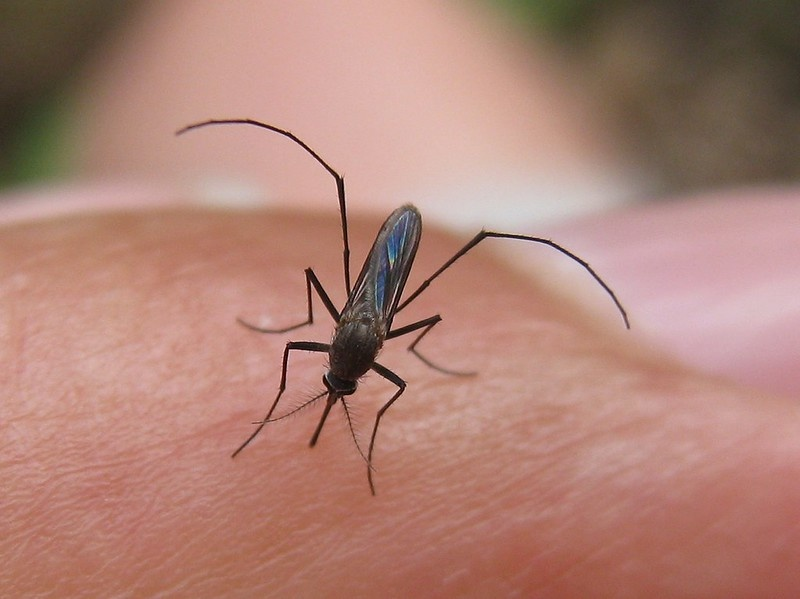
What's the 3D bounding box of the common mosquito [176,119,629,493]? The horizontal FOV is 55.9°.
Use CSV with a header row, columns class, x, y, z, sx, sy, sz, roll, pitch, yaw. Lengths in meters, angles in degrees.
class,x,y,z,sx,sy,sz,roll,pitch,yaw
common mosquito,-0.192,0.158,3.930,1.050,0.981,1.582,20,69,1
